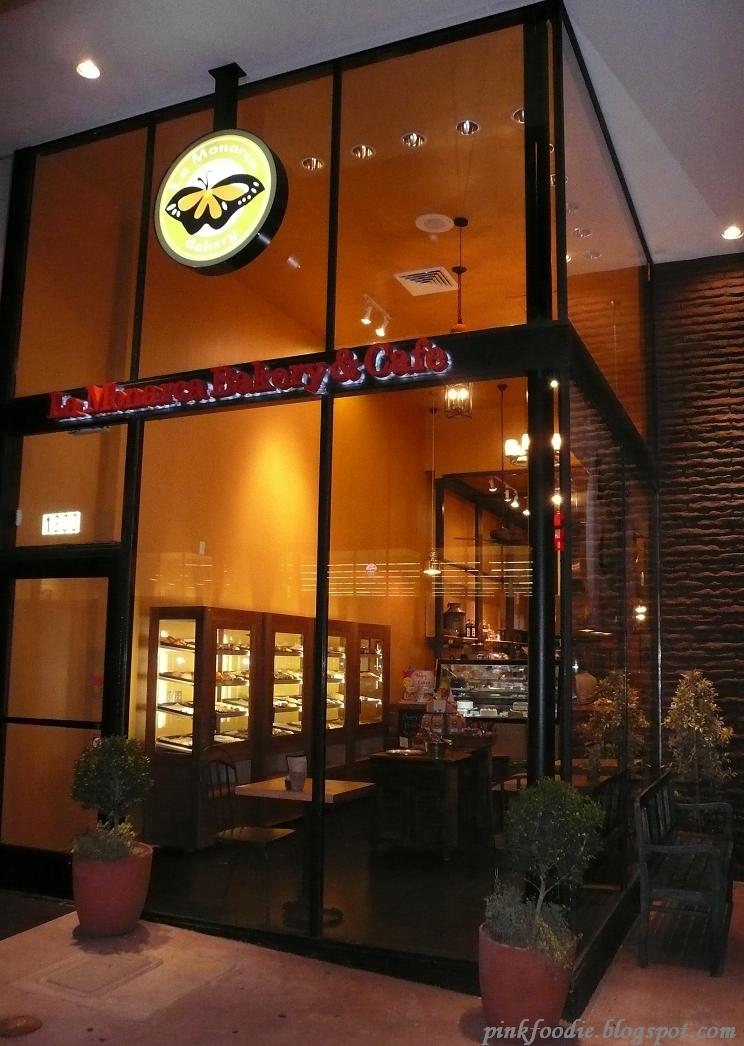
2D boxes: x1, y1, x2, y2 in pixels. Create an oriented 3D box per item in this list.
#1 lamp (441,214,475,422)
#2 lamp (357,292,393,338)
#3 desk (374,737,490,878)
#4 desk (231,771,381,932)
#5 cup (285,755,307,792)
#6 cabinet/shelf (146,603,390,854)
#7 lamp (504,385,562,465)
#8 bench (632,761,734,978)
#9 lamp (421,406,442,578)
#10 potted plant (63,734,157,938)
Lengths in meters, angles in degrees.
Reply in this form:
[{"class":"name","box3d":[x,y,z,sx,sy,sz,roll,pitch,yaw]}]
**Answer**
[{"class":"lamp","box3d":[0.457,-1.101,4.657,0.092,1.127,0.183,9,-12,-37]},{"class":"lamp","box3d":[0.018,-1.116,4.853,0.168,0.223,0.060,18,5,24]},{"class":"desk","box3d":[0.394,1.344,4.461,0.540,0.618,0.629,-6,-12,28]},{"class":"desk","box3d":[-0.368,1.691,4.852,0.727,0.735,0.733,-1,-8,9]},{"class":"cup","box3d":[-0.384,1.280,4.607,0.145,0.200,0.166,-1,-9,5]},{"class":"cabinet/shelf","box3d":[-0.498,1.101,4.677,0.426,1.224,1.338,-6,-8,35]},{"class":"lamp","box3d":[0.771,-0.487,4.330,0.277,0.425,0.068,1,-9,10]},{"class":"bench","box3d":[1.794,2.022,5.216,0.371,0.673,1.074,-2,-6,19]},{"class":"lamp","box3d":[0.309,-0.165,4.470,0.062,0.892,0.150,2,-9,-1]},{"class":"potted plant","box3d":[-1.374,1.642,4.692,0.429,0.980,0.390,4,-9,-12]}]
